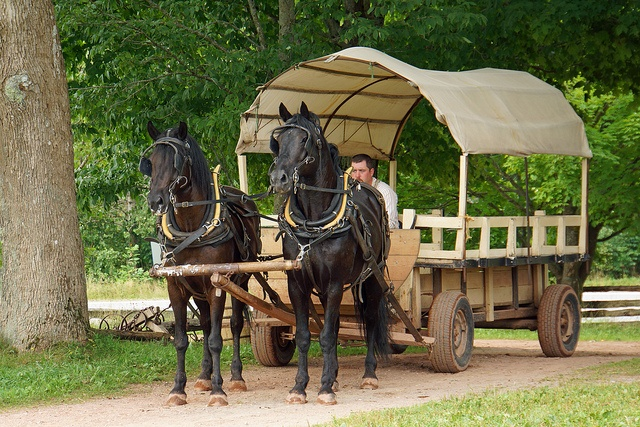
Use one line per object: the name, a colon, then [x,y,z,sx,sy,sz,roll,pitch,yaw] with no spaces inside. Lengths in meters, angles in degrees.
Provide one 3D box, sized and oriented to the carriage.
carriage: [2.432,0.342,24.979,5.493,7.140,8.753,-7,-9,38]
